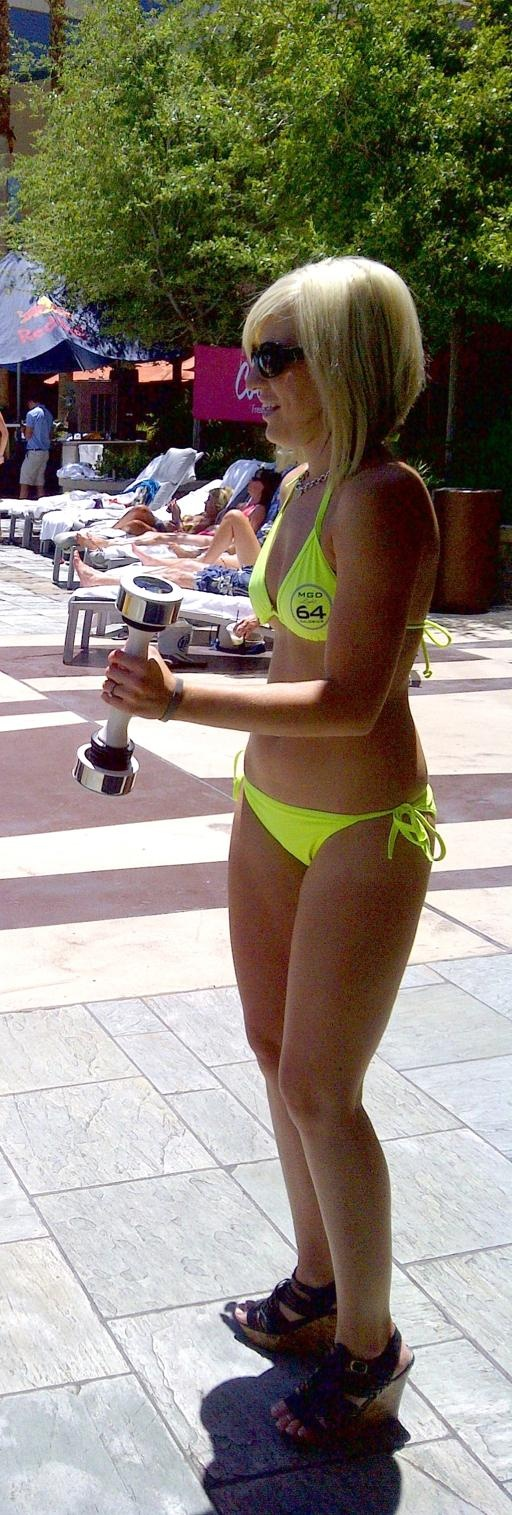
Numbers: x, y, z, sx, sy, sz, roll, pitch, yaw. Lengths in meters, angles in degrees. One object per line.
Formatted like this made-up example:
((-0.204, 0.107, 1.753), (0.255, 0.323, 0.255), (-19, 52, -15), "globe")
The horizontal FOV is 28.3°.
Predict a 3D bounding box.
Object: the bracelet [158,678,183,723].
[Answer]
((-0.120, -0.079, 1.437), (0.031, 0.064, 0.113), (0, 10, -7), "bracelet")

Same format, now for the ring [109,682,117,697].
((-0.200, -0.093, 1.418), (0.011, 0.020, 0.004), (8, 11, 39), "ring")

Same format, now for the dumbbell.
((-0.188, -0.106, 1.515), (0.107, 0.459, 0.137), (10, 16, 27), "dumbbell")

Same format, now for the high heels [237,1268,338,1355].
((0.066, 1.029, 1.909), (0.200, 0.122, 0.096), (-1, 5, 16), "high heels")

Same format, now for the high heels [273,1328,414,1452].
((0.154, 0.993, 1.694), (0.220, 0.216, 0.140), (-5, 8, -14), "high heels")

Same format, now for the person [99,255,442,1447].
((-0.025, 0.227, 1.688), (0.628, 1.914, 0.504), (-2, 4, -25), "person")
